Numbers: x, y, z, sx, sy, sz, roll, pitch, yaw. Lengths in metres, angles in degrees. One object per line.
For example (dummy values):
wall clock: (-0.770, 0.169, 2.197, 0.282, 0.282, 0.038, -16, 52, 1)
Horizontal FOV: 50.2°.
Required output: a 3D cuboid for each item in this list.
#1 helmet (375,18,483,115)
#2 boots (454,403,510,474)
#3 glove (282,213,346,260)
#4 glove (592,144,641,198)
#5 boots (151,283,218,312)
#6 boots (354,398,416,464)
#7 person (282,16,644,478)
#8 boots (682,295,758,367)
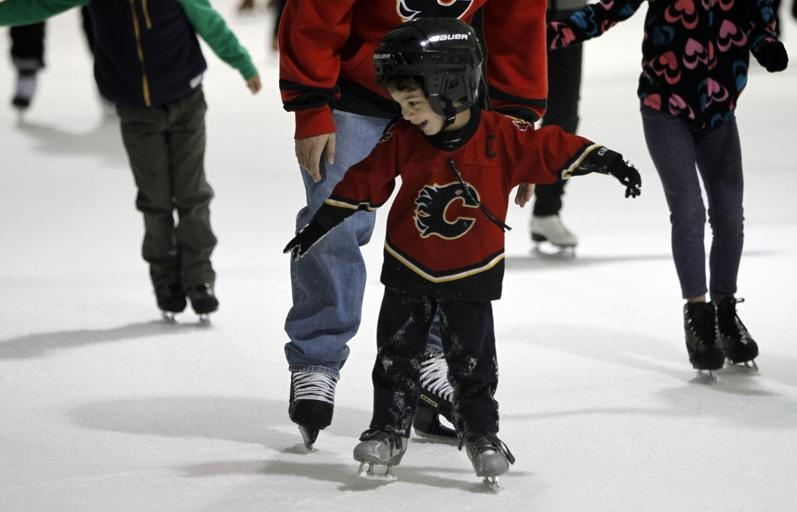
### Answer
helmet: (0.091, -0.643, 3.002, 0.384, 0.324, 0.283, 0, 0, -27)
boots: (0.293, 0.595, 2.958, 0.105, 0.146, 0.332, -9, 26, -2)
glove: (-0.291, -0.071, 2.945, 0.206, 0.128, 0.060, -30, -4, -13)
glove: (0.738, -0.288, 2.892, 0.192, 0.126, 0.076, 32, 7, 17)
boots: (-1.116, 0.222, 4.501, 0.258, 0.090, 0.171, 1, 33, 1)
boots: (-0.034, 0.612, 2.967, 0.115, 0.142, 0.323, 2, 6, 15)
person: (0.164, -0.020, 2.901, 1.024, 1.586, 0.259, -2, -2, 12)
boots: (1.451, 0.352, 3.840, 0.181, 0.223, 0.503, -6, 3, 3)
